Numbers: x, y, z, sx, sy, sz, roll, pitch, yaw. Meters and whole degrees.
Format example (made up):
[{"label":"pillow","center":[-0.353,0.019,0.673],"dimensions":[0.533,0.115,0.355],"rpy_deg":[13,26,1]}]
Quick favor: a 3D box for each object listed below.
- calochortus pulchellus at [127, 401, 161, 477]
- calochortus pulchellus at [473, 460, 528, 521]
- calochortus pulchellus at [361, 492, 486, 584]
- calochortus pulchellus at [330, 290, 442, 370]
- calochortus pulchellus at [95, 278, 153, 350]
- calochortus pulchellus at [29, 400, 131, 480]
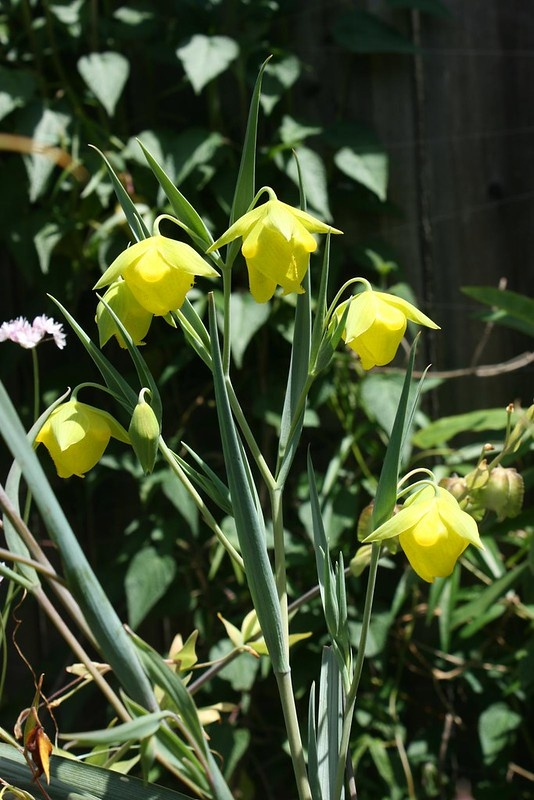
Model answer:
[{"label":"calochortus pulchellus","center":[-0.089,0.026,0.603],"dimensions":[0.022,0.059,0.036],"rpy_deg":[-1,15,-7]},{"label":"calochortus pulchellus","center":[0.209,0.084,0.747],"dimensions":[0.032,0.061,0.059],"rpy_deg":[11,18,33]},{"label":"calochortus pulchellus","center":[0.117,0.095,0.641],"dimensions":[0.067,0.074,0.089],"rpy_deg":[-14,-9,3]},{"label":"calochortus pulchellus","center":[0.089,-0.054,0.640],"dimensions":[0.065,0.036,0.065],"rpy_deg":[16,0,24]},{"label":"calochortus pulchellus","center":[-0.108,-0.064,0.622],"dimensions":[0.041,0.054,0.014],"rpy_deg":[-12,22,-11]},{"label":"calochortus pulchellus","center":[-0.137,0.028,0.610],"dimensions":[0.065,0.036,0.063],"rpy_deg":[16,-22,-37]}]
